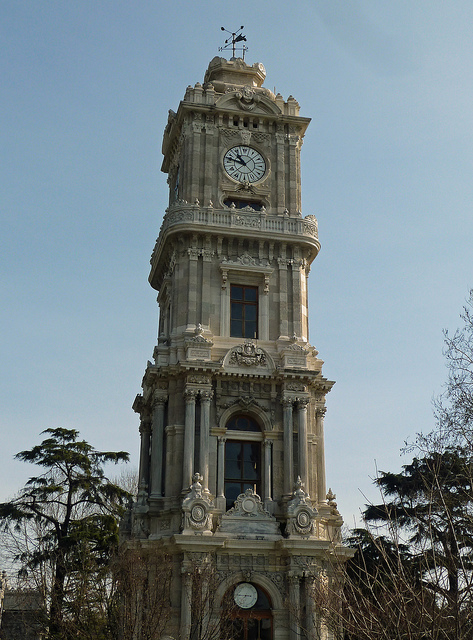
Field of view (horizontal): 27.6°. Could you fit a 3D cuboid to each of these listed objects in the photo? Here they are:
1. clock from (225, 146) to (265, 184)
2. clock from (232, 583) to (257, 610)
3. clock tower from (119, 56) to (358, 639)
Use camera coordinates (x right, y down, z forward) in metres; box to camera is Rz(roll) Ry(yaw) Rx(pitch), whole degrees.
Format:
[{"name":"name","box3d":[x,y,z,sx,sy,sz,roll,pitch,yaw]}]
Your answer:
[{"name":"clock","box3d":[0.284,-6.701,41.920,1.810,1.830,0.123,4,-27,-31]},{"name":"clock","box3d":[0.263,9.622,33.448,0.894,0.865,0.153,11,-27,-23]},{"name":"clock tower","box3d":[-0.206,-1.273,38.283,7.591,27.374,7.098,3,-25,-6]}]
